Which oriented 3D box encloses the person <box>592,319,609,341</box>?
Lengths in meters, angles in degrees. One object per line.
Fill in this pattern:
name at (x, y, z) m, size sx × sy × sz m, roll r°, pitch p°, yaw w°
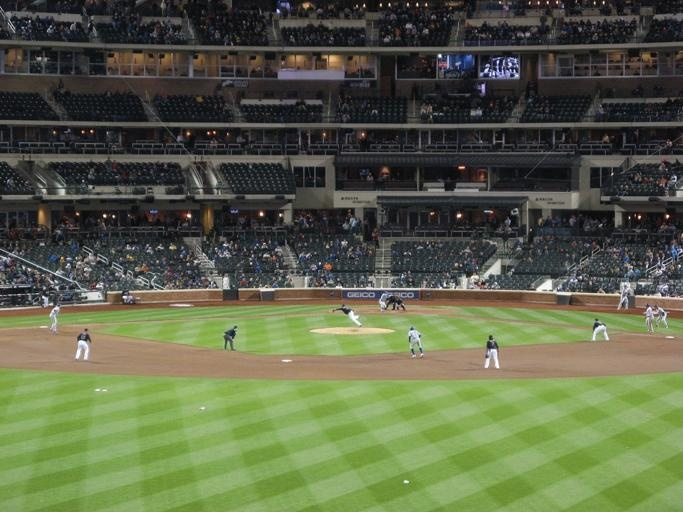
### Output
person at (14.932, 4.180, 65.148) m, size 1.168 × 1.475 × 0.924 m, roll 0°, pitch 9°, yaw 17°
